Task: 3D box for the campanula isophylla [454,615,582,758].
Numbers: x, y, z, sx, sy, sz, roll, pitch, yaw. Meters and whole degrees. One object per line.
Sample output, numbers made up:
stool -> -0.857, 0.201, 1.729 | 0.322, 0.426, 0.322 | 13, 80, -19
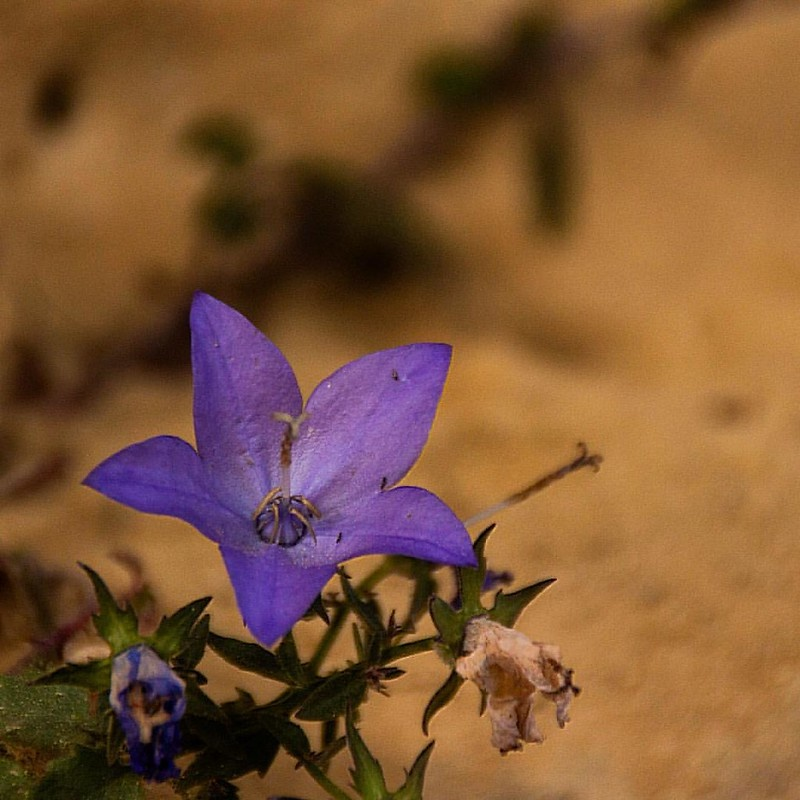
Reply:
campanula isophylla -> 0.067, 0.166, 0.981 | 0.066, 0.085, 0.033 | -27, 5, -11
